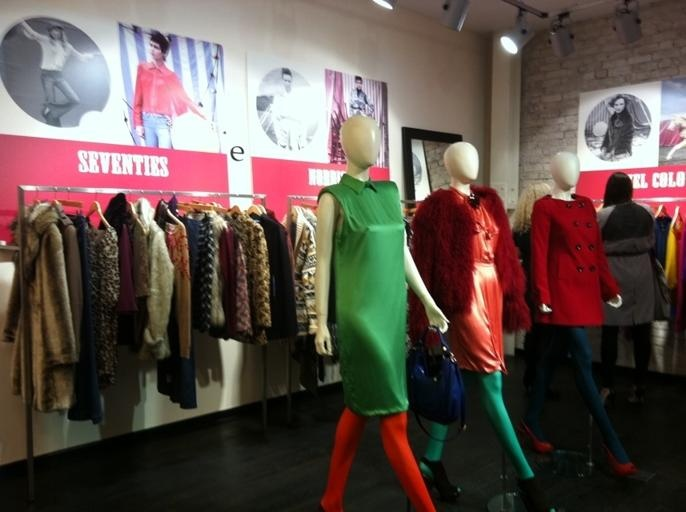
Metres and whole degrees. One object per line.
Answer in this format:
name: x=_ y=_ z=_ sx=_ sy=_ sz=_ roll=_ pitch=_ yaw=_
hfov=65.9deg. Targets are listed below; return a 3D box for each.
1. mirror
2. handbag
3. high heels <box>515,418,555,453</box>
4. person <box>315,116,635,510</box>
mirror: x=0.985 y=-0.918 z=5.849 sx=0.752 sy=0.890 sz=0.034 roll=1 pitch=-2 yaw=-28
handbag: x=0.517 y=0.674 z=2.884 sx=0.189 sy=0.509 sz=0.415 roll=-5 pitch=0 yaw=-35
high heels: x=1.357 y=1.271 z=3.839 sx=0.324 sy=0.261 sz=0.115 roll=8 pitch=3 yaw=33
person: x=0.429 y=0.368 z=2.886 sx=1.255 sy=2.233 sz=0.605 roll=-4 pitch=4 yaw=-23
